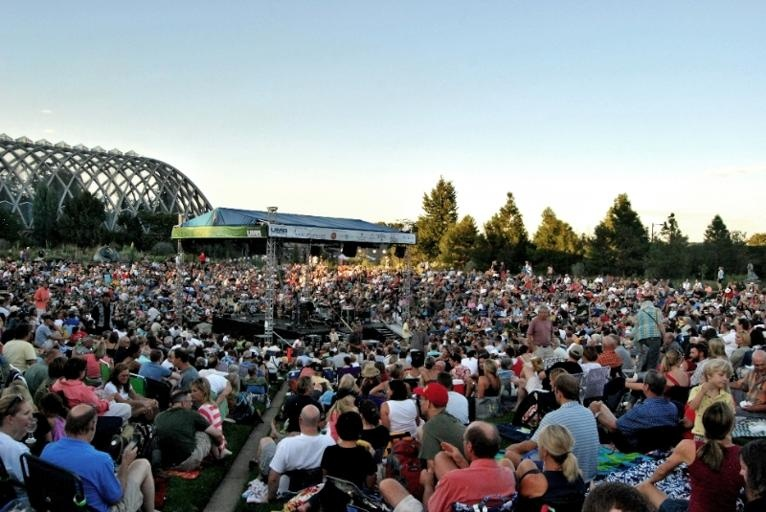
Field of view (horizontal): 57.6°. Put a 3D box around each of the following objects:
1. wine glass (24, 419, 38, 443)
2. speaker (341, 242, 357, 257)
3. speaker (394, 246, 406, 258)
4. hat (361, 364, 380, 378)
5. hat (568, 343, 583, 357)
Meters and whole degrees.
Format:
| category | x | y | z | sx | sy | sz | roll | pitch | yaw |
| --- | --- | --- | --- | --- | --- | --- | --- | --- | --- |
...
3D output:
| category | x | y | z | sx | sy | sz | roll | pitch | yaw |
| --- | --- | --- | --- | --- | --- | --- | --- | --- | --- |
| wine glass | -5.817 | 2.910 | 11.498 | 0.177 | 0.362 | 0.339 | 2 | 0 | -34 |
| speaker | -1.592 | -0.329 | 32.998 | 0.674 | 0.685 | 1.253 | 3 | -4 | 4 |
| speaker | 0.874 | -0.187 | 35.063 | 0.466 | 0.244 | 0.631 | 20 | 3 | 21 |
| hat | -0.253 | 2.392 | 14.442 | 0.351 | 0.276 | 0.582 | 2 | 0 | 0 |
| hat | 4.033 | 1.987 | 14.577 | 0.211 | 0.285 | 1.028 | 2 | 0 | 21 |
